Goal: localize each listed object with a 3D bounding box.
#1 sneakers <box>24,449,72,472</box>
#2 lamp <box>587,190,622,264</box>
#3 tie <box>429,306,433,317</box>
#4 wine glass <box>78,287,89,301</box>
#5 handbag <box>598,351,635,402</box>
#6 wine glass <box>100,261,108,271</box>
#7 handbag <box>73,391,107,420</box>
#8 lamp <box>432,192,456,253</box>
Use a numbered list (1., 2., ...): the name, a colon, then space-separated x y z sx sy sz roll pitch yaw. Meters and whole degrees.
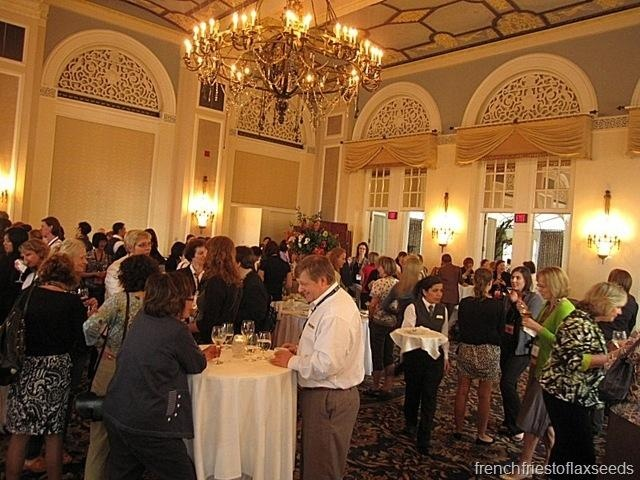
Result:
1. sneakers: -2.289 1.866 3.897 0.151 0.065 0.203 -1 -4 32
2. lamp: 5.474 -0.279 8.911 0.437 1.368 0.467 3 6 24
3. tie: 1.207 0.778 5.006 0.048 0.096 0.019 2 -6 -15
4. wine glass: -2.124 0.489 4.177 0.068 0.117 0.177 3 4 -18
5. handbag: 2.133 1.011 3.356 0.137 0.323 0.241 1 4 -32
6. wine glass: -2.921 0.362 6.293 0.125 0.133 0.131 -1 0 4
7. handbag: -1.538 1.115 3.155 0.229 0.144 0.101 26 12 13
8. lamp: 2.958 -0.419 10.980 0.522 1.365 0.453 5 11 18
